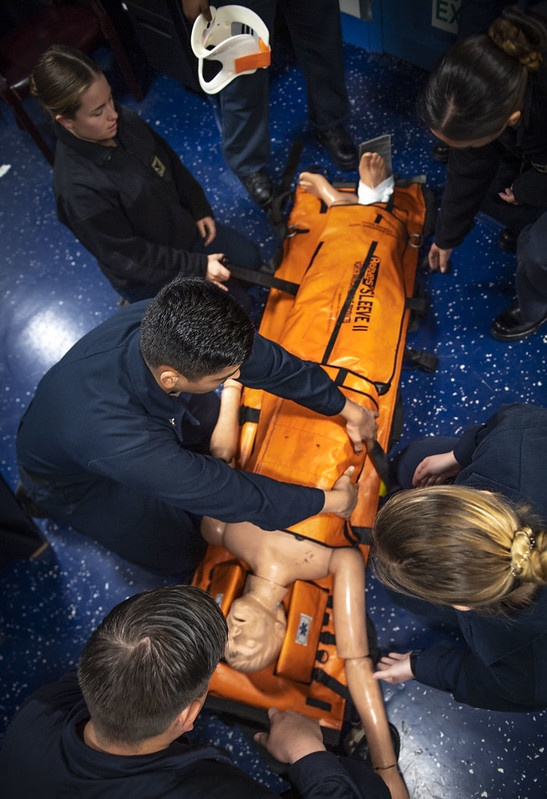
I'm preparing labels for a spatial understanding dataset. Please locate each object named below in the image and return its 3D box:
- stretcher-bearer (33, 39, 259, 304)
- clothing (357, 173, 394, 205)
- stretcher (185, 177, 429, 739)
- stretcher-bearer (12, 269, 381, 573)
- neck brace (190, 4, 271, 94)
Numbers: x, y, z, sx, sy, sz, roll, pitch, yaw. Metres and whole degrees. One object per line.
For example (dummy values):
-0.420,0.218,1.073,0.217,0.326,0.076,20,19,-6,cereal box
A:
-0.477,-0.872,2.798,0.724,1.512,0.745,12,71,8,stretcher-bearer
0.513,-1.046,2.878,0.072,0.137,0.181,7,100,-22,clothing
0.224,0.046,2.693,0.907,0.579,2.511,15,77,4,stretcher
-0.251,0.198,2.134,1.117,1.454,0.689,6,54,-7,stretcher-bearer
-0.178,-1.473,2.389,0.312,0.400,0.320,-5,71,5,neck brace
